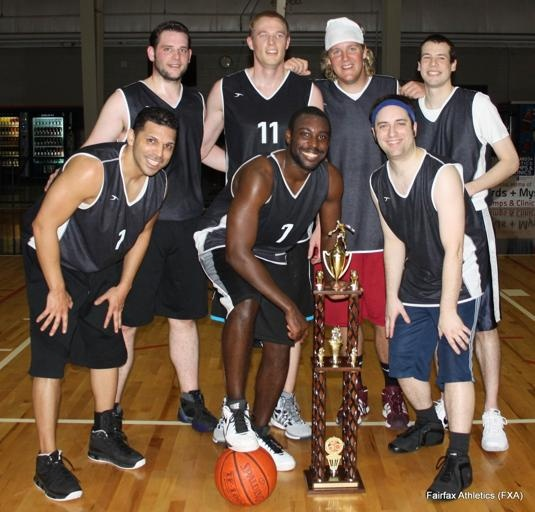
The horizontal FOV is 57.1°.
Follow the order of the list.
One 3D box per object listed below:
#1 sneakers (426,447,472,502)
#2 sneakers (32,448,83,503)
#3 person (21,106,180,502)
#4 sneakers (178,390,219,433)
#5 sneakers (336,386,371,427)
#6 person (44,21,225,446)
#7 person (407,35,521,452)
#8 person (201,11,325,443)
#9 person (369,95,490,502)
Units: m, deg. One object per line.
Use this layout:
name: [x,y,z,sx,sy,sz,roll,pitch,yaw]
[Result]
sneakers: [0.687,0.810,1.849,0.099,0.150,0.239,4,6,44]
sneakers: [-0.786,0.815,1.856,0.211,0.150,0.100,4,6,43]
person: [-0.690,0.059,1.998,0.478,1.824,0.585,5,8,38]
sneakers: [-0.358,0.776,2.515,0.250,0.197,0.110,12,10,44]
sneakers: [0.426,0.746,2.565,0.120,0.258,0.365,1,1,23]
person: [-0.704,0.149,1.958,0.470,1.573,0.592,14,13,18]
person: [0.679,0.157,1.977,0.392,1.651,0.546,-10,14,-13]
person: [-0.034,-0.251,2.631,0.620,2.169,0.595,-2,6,-26]
person: [0.593,0.144,2.090,0.454,1.522,0.529,1,9,13]
